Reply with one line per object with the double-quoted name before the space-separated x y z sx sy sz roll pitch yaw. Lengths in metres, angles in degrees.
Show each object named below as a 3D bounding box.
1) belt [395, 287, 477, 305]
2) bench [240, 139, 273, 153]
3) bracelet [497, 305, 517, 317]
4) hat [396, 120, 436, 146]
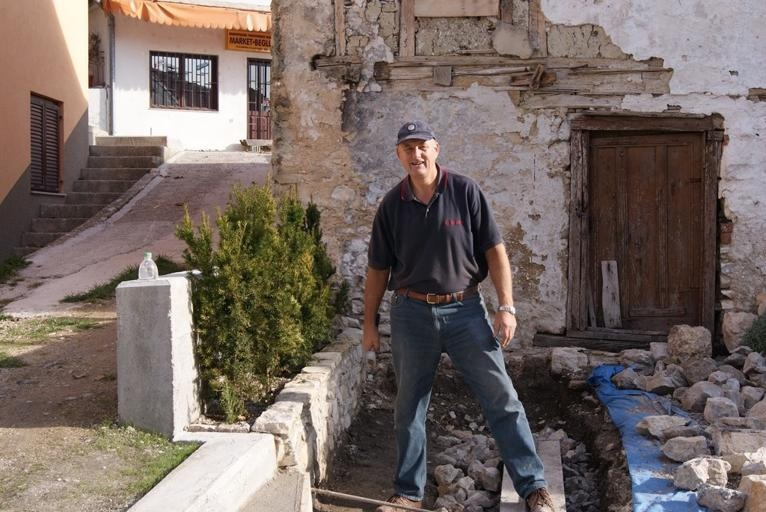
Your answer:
"belt" 0.518 0.366 6.940 0.752 0.162 0.158 2 4 1
"bench" -3.419 -3.043 19.848 0.707 0.384 1.146 0 4 -27
"bracelet" 1.178 0.502 6.903 0.145 0.099 0.145 1 3 -1
"hat" 0.328 -1.204 7.029 0.229 0.174 0.326 -6 -14 8
